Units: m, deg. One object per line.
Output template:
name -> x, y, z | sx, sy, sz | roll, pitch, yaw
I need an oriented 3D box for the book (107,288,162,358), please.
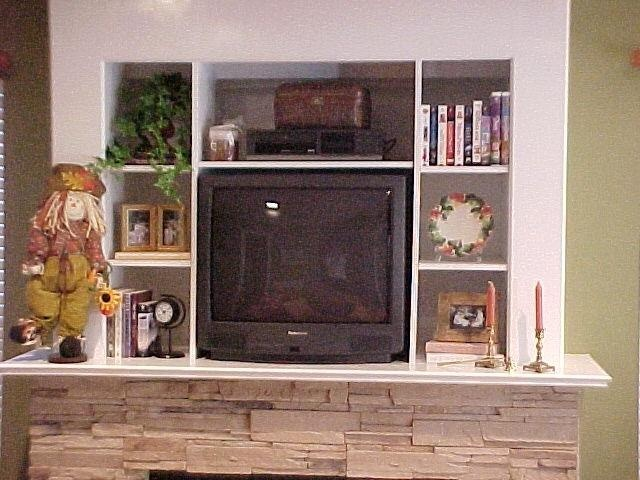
book -> -0.920, 0.405, 3.381 | 0.280, 0.360, 0.387 | 0, -1, 8

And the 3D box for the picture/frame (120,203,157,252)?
picture/frame -> -0.877, -0.052, 3.264 | 0.238, 0.291, 0.029 | 0, 1, -6

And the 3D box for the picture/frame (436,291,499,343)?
picture/frame -> 0.700, 0.375, 3.181 | 0.274, 0.234, 0.028 | 0, -4, 8

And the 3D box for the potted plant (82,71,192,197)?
potted plant -> -0.890, -0.534, 3.244 | 0.613, 0.404, 0.324 | 9, 2, 6

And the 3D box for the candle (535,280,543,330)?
candle -> 0.971, 0.297, 3.001 | 0.035, 0.209, 0.113 | 0, 0, 17

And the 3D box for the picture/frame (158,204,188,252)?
picture/frame -> -0.729, -0.053, 3.272 | 0.135, 0.217, 0.022 | 0, -1, -35

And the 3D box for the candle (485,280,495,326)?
candle -> 0.796, 0.304, 3.154 | 0.044, 0.214, 0.260 | 1, 0, 14

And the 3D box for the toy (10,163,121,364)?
toy -> -1.201, 0.109, 3.131 | 0.415, 0.676, 0.172 | 1, 0, -16

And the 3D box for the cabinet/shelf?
cabinet/shelf -> -0.058, -0.119, 3.178 | 1.502, 1.072, 0.433 | 1, 3, 4
